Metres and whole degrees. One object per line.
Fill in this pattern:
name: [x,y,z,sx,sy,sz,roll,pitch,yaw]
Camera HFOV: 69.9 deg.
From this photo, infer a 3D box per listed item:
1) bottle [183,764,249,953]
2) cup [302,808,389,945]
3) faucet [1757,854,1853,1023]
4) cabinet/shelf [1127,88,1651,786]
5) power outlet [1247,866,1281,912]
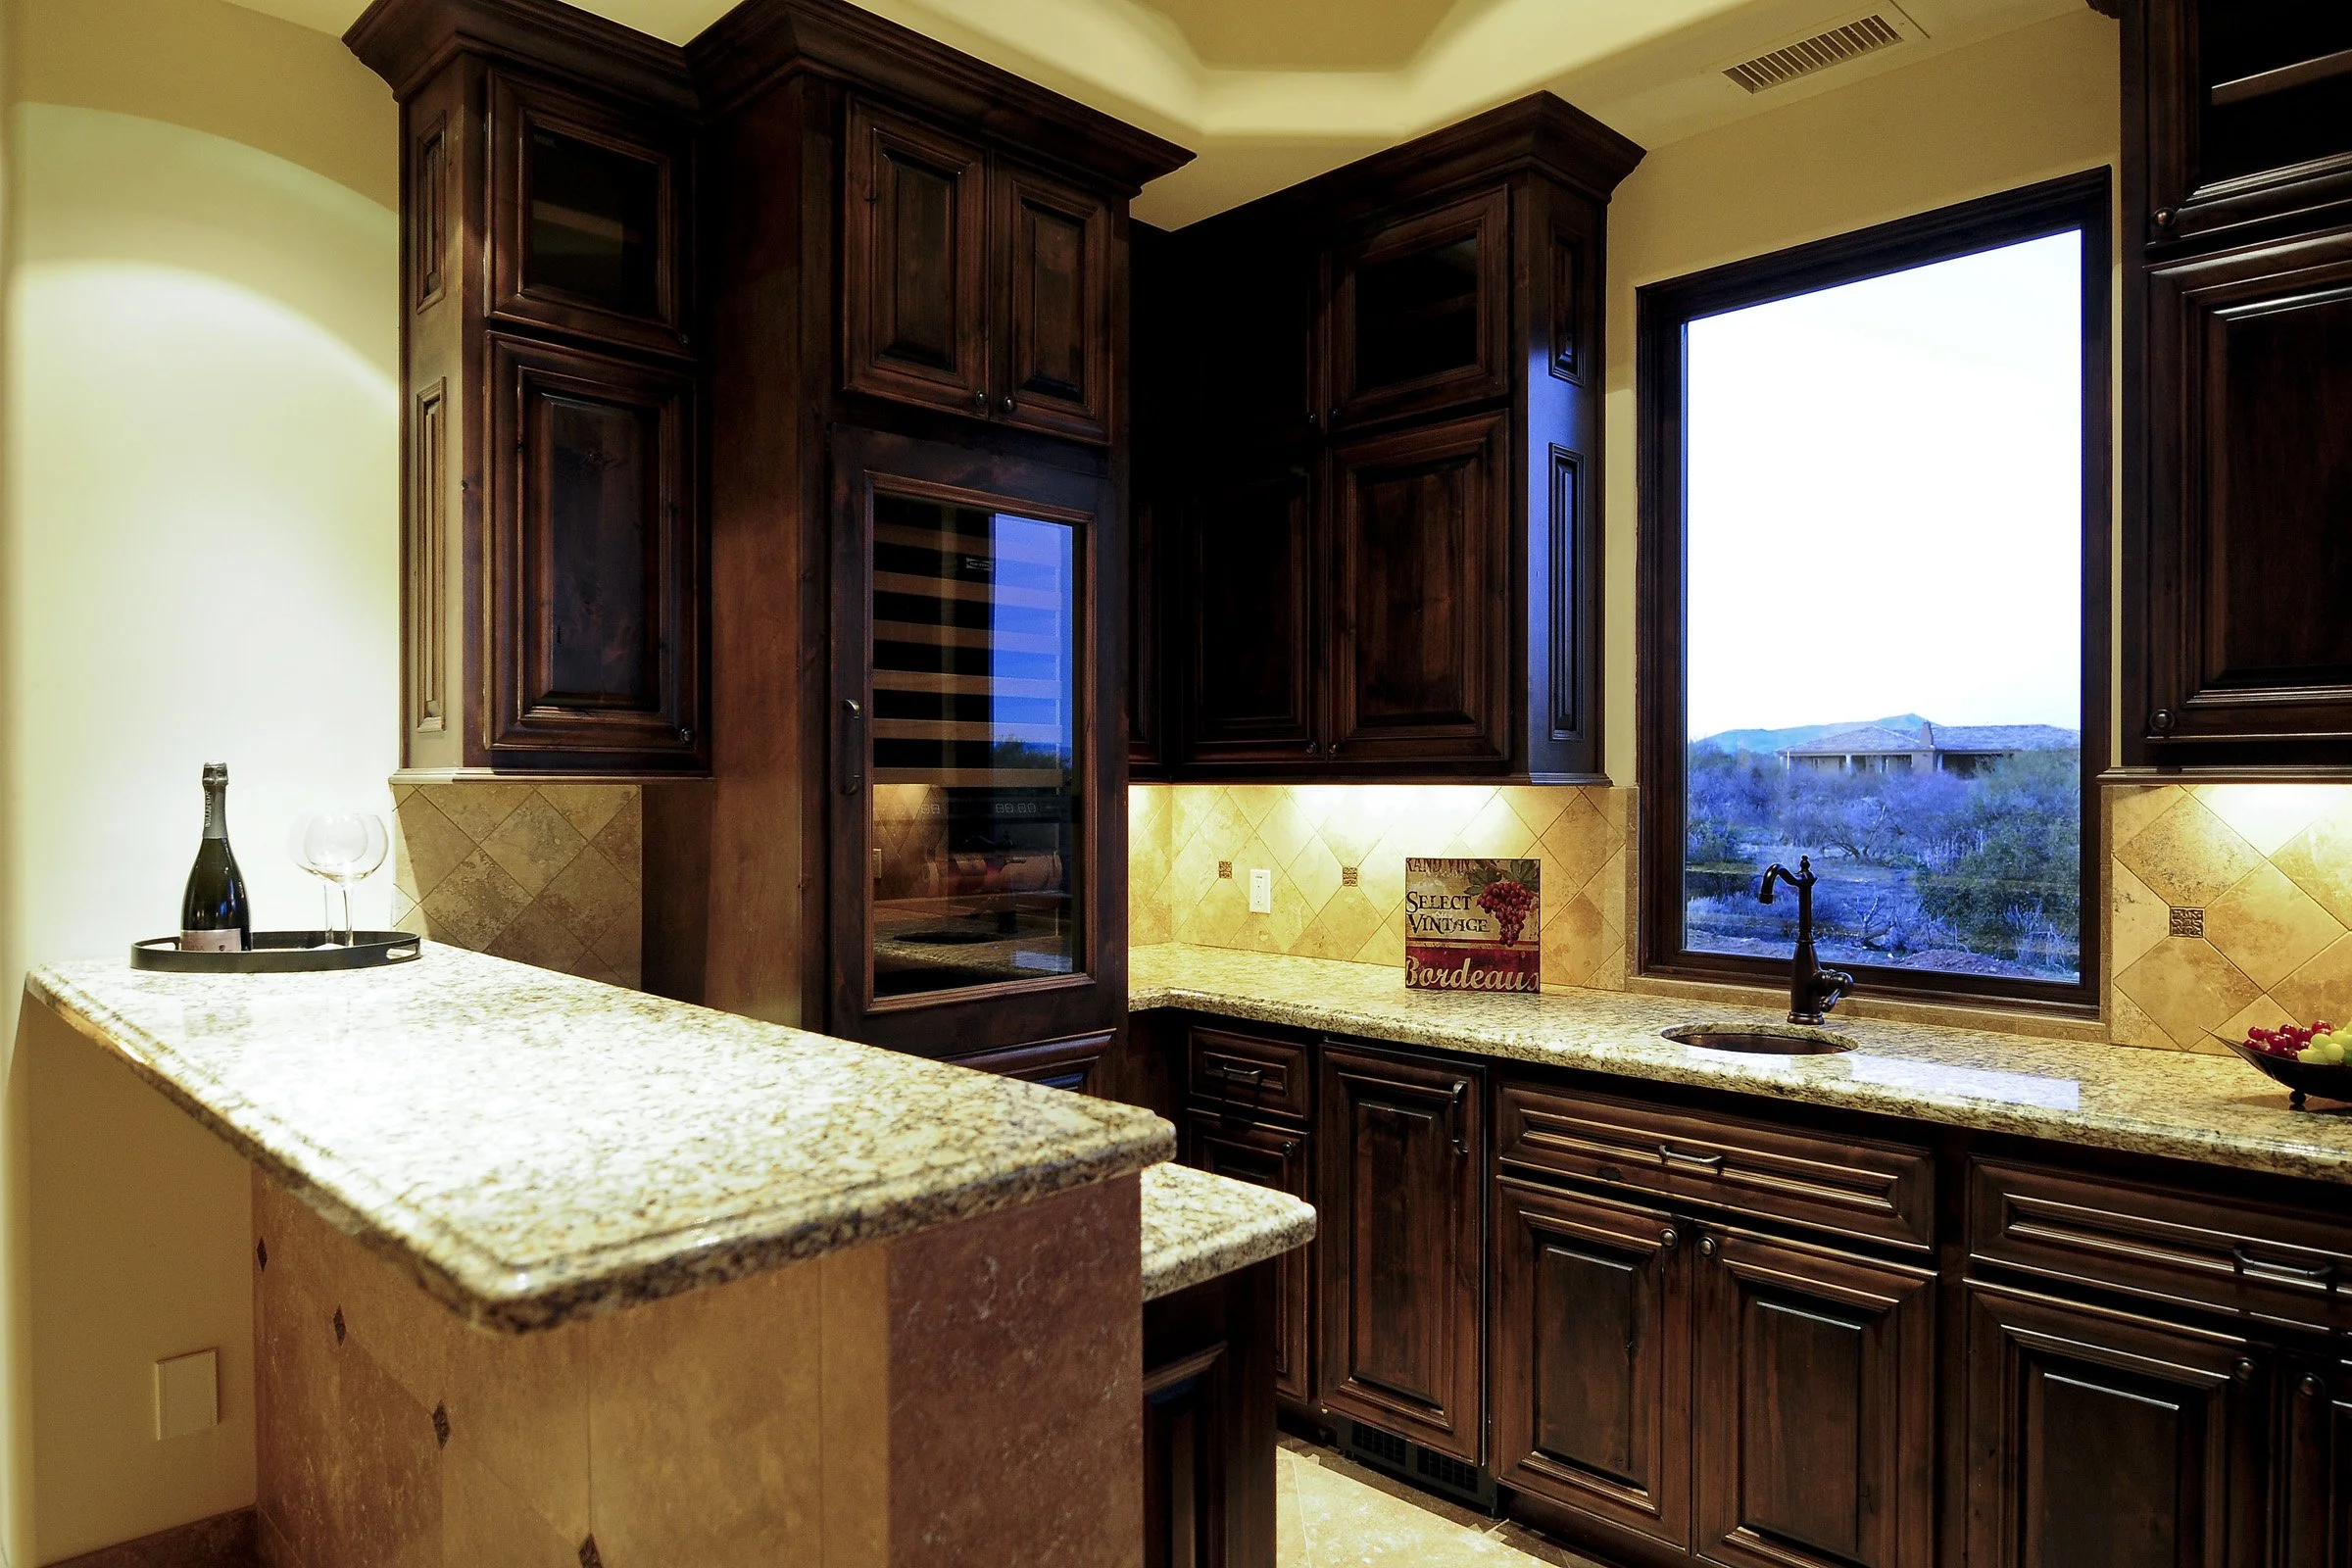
bottle: [-2.206,0.162,3.829,0.140,0.419,0.337,-2,2,-30]
cup: [-1.937,0.216,3.861,0.174,0.313,0.386,-2,2,-27]
faucet: [1.628,0.398,4.340,0.217,0.403,0.365,0,2,22]
cabinet/shelf: [0.643,-0.978,4.684,1.748,1.759,0.684,-2,-4,43]
power outlet: [0.277,0.334,5.351,0.017,0.193,0.136,0,2,-44]
